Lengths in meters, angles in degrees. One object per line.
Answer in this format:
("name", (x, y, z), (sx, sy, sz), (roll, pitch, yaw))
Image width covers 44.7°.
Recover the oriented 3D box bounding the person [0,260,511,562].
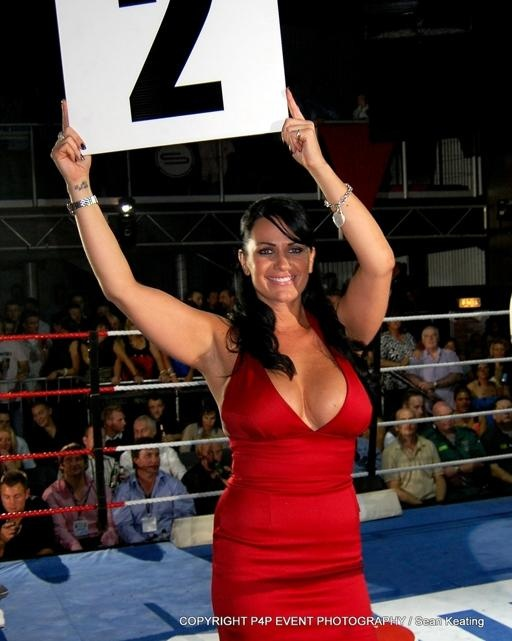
("person", (-0.059, 0.591, 3.608), (2.821, 0.796, 0.926), (-2, -1, -18))
